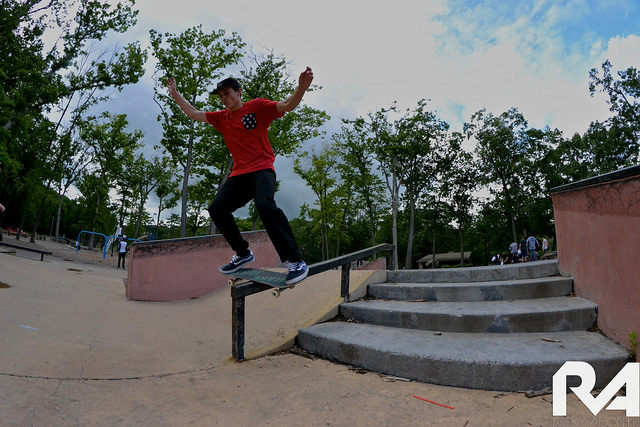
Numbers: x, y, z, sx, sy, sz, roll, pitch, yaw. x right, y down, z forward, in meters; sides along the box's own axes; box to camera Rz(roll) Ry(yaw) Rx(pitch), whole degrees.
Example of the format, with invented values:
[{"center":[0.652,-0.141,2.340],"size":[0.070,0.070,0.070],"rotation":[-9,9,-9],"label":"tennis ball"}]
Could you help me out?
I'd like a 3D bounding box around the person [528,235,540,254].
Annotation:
[{"center":[10.241,1.625,19.047],"size":[0.404,0.806,1.026],"rotation":[0,-6,29],"label":"person"}]
